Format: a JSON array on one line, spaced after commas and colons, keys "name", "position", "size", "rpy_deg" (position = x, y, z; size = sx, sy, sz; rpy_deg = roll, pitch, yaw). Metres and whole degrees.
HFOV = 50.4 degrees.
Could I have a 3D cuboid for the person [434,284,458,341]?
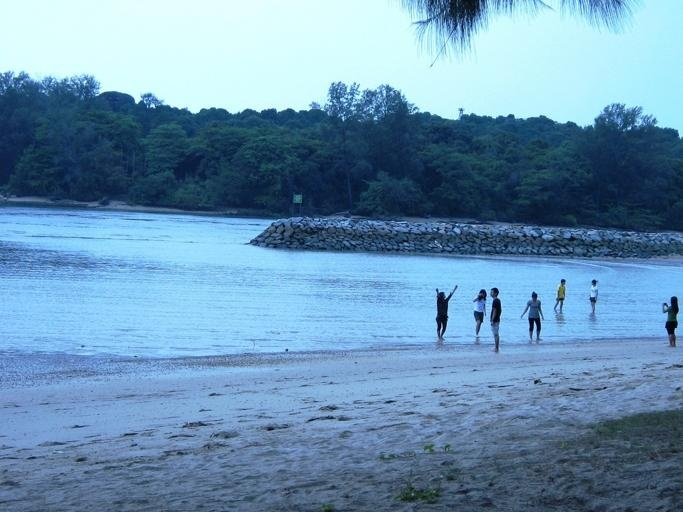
[{"name": "person", "position": [2.694, 1.527, 19.327], "size": [0.402, 1.211, 1.860], "rpy_deg": [4, 1, 8]}]
